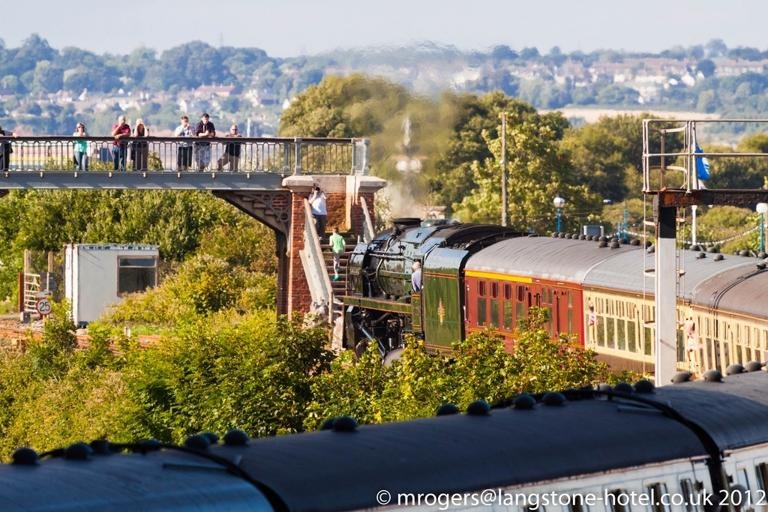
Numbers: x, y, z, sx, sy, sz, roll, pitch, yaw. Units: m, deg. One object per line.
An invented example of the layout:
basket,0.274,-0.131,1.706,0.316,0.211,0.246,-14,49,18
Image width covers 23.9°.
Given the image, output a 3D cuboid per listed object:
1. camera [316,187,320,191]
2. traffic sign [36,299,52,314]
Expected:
camera,-2.956,-3.002,80.343,0.213,0.225,0.107,0,-5,-30
traffic sign,-16.303,2.423,86.779,0.125,0.787,0.777,0,0,42
